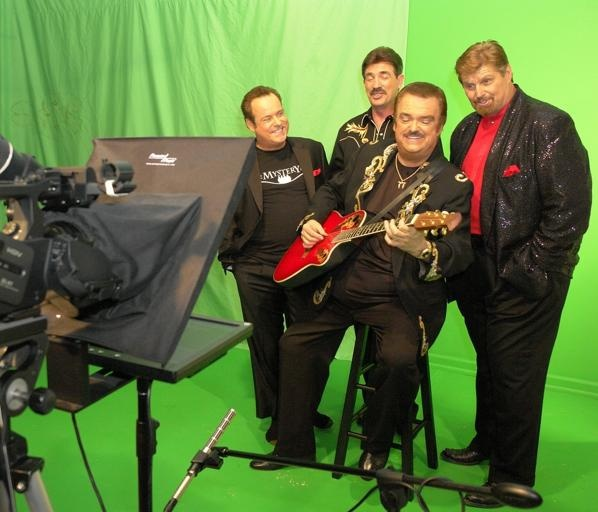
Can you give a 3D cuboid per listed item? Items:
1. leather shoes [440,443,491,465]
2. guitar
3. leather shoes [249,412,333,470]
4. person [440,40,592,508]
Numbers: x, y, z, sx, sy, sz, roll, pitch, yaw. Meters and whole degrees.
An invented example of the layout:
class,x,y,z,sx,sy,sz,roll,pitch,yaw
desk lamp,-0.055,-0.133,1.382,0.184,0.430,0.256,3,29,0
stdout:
class,x,y,z,sx,sy,sz,roll,pitch,yaw
leather shoes,0.885,1.061,2.997,0.281,0.105,0.096,4,2,9
guitar,0.241,-0.024,2.558,0.112,0.364,0.814,45,-21,-21
leather shoes,-0.079,1.017,3.151,0.198,0.239,0.624,-6,-5,41
person,1.013,0.074,2.652,0.610,2.095,0.481,4,6,19
